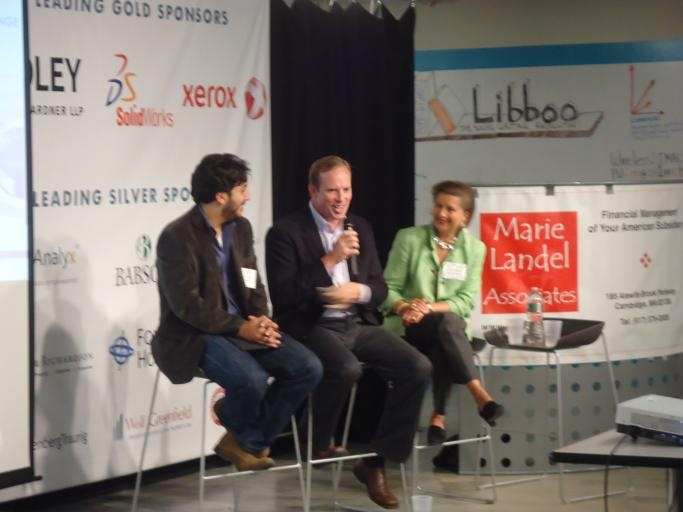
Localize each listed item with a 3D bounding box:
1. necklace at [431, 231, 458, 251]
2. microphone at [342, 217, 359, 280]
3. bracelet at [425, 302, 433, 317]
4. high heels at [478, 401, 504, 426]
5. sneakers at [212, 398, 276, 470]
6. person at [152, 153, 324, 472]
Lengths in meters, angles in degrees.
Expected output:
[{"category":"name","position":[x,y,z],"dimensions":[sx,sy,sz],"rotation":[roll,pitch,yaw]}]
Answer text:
[{"category":"necklace","position":[0.618,-0.077,4.126],"dimensions":[0.112,0.049,0.087],"rotation":[38,26,29]},{"category":"microphone","position":[0.038,-0.037,3.809],"dimensions":[0.064,0.344,0.068],"rotation":[-1,-3,4]},{"category":"bracelet","position":[0.510,0.311,3.990],"dimensions":[0.049,0.087,0.045],"rotation":[-19,-10,24]},{"category":"high heels","position":[0.826,0.893,3.843],"dimensions":[0.079,0.081,0.224],"rotation":[-37,-11,-14]},{"category":"sneakers","position":[-0.607,0.976,3.735],"dimensions":[0.543,0.252,0.178],"rotation":[13,14,29]},{"category":"person","position":[-0.572,0.289,3.663],"dimensions":[0.821,1.682,0.458],"rotation":[-1,3,-2]}]
